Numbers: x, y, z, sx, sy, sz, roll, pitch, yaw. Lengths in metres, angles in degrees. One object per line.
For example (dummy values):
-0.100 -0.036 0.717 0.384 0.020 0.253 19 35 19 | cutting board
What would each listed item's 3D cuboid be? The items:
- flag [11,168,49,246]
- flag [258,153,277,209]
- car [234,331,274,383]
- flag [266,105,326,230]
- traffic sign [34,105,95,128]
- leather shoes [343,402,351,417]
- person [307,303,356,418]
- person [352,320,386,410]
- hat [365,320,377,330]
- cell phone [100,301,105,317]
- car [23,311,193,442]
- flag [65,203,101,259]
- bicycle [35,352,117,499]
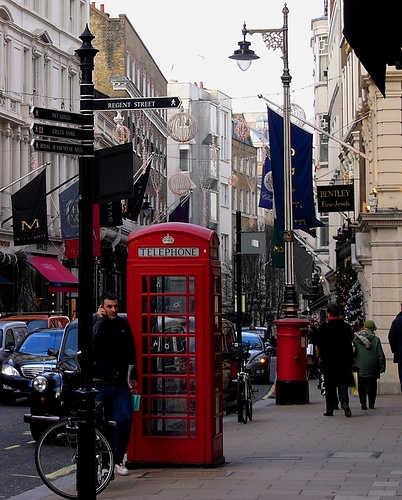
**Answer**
-5.507 -1.393 34.736 1.319 2.325 0.512 -5 -5 22 | flag
1.868 -1.976 29.009 0.492 0.112 2.217 9 -48 12 | flag
1.543 2.922 29.250 0.884 0.952 1.986 -1 -7 4 | car
1.992 -1.723 22.162 1.046 0.171 3.446 0 -43 10 | flag
-1.136 -1.094 8.700 0.652 0.143 0.201 2 -8 -44 | traffic sign
2.322 2.534 16.918 0.088 0.294 0.115 -16 -14 8 | leather shoes
2.194 1.765 17.385 0.577 1.842 0.939 -3 -5 7 | person
2.962 1.997 18.738 0.536 1.544 0.830 -3 -5 8 | person
2.972 1.307 18.771 0.139 0.190 0.207 9 12 28 | hat
-0.975 0.586 10.579 0.031 0.111 0.081 -3 -15 -3 | cell phone
-1.682 1.709 14.429 1.289 1.530 2.471 -2 -9 7 | car
-3.846 -0.740 33.728 1.877 2.129 0.030 2 11 45 | flag
-1.180 1.764 9.776 0.647 1.000 1.522 -2 -13 15 | bicycle
